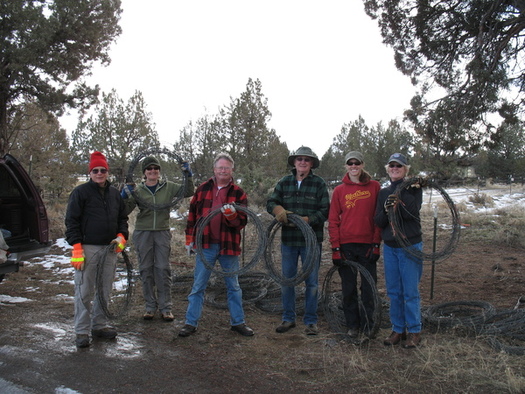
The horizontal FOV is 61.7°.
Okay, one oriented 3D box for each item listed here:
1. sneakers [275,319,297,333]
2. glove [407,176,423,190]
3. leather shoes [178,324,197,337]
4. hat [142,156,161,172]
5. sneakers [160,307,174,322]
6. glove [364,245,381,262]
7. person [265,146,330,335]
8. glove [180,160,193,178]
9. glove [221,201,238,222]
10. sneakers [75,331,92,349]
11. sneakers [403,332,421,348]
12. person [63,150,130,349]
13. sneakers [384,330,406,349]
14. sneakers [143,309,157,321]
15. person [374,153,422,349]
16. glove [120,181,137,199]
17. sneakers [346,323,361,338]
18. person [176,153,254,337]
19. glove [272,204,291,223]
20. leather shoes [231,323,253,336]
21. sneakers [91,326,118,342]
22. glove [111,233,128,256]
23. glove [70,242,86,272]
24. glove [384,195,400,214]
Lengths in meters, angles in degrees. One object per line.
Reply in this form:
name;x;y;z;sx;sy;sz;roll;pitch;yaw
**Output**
sneakers;0.372;2.062;7.044;0.121;0.166;0.357;-14;-17;40
glove;2.312;-0.221;6.595;0.177;0.213;0.071;5;10;18
leather shoes;-1.148;2.051;6.764;0.300;0.166;0.132;5;-11;-10
hat;-1.820;-0.531;7.203;0.207;0.243;0.246;1;-3;-29
sneakers;-1.566;1.918;7.234;0.227;0.173;0.208;0;9;-8
glove;1.672;0.846;6.697;0.171;0.096;0.248;20;0;-17
person;0.582;0.654;7.120;0.942;2.938;0.835;2;7;10
glove;-1.296;-0.489;7.488;0.082;0.275;0.179;-15;-4;33
glove;-0.512;0.233;6.793;0.241;0.283;0.174;1;7;0
sneakers;-2.579;2.061;6.350;0.177;0.215;0.177;-4;2;-7
sneakers;2.205;2.108;6.480;0.119;0.177;0.369;-10;-23;30
person;-2.459;0.717;6.567;0.868;2.761;0.564;-4;8;-36
sneakers;1.975;2.133;6.575;0.386;0.194;0.149;5;-9;-31
sneakers;-1.873;1.920;7.263;0.217;0.152;0.183;-2;9;-16
person;2.065;0.766;6.628;0.731;2.810;0.620;4;7;23
glove;-2.220;-0.100;7.392;0.223;0.265;0.244;-2;19;20
sneakers;1.385;2.042;6.714;0.188;0.147;0.188;3;9;12
person;-0.731;0.729;6.961;1.058;2.829;0.733;0;7;-4
glove;0.288;0.251;6.916;0.243;0.127;0.203;15;32;11
leather shoes;-0.322;2.073;6.909;0.331;0.171;0.155;3;4;22
sneakers;-2.374;2.060;6.616;0.360;0.308;0.173;-6;15;-18
glove;-2.188;0.716;6.706;0.181;0.300;0.138;-11;-17;34
glove;-2.733;0.874;6.411;0.118;0.368;0.263;-5;-3;2
glove;1.928;0.087;6.526;0.220;0.256;0.151;1;7;3
